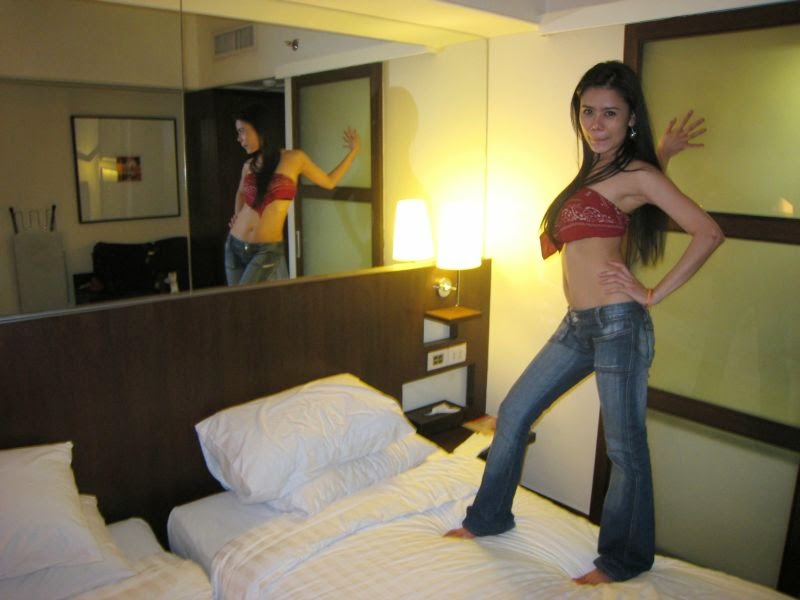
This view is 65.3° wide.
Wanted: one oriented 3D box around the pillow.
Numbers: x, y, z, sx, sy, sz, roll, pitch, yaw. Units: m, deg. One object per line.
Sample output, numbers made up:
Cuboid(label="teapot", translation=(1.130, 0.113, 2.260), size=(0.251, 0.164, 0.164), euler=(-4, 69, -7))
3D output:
Cuboid(label="pillow", translation=(-0.349, 0.587, 2.618), size=(0.608, 0.207, 0.569), euler=(-15, 33, -34))

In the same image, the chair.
Cuboid(label="chair", translation=(-1.068, -0.110, 2.626), size=(0.339, 0.247, 0.200), euler=(-7, -11, -26))

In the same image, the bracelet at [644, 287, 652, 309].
Cuboid(label="bracelet", translation=(0.916, -0.007, 2.316), size=(0.016, 0.052, 0.036), euler=(10, -19, 6))
